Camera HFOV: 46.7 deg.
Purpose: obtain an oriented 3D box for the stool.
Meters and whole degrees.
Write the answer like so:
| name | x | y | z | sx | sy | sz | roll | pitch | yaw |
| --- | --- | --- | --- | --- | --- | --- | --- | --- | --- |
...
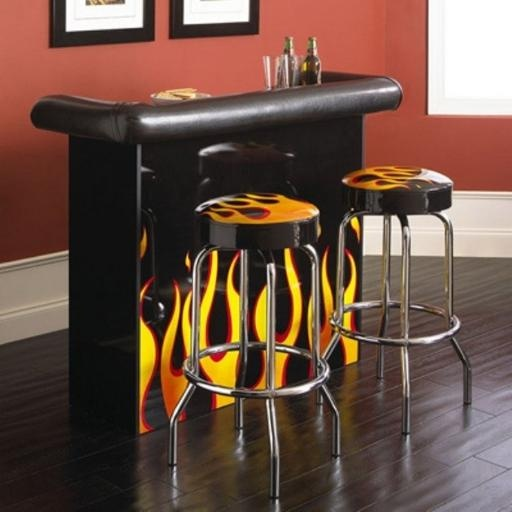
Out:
| name | x | y | z | sx | sy | sz | roll | pitch | yaw |
| --- | --- | --- | --- | --- | --- | --- | --- | --- | --- |
| stool | 0.191 | 0.285 | 2.011 | 0.395 | 0.747 | 0.917 | 8 | 13 | 37 |
